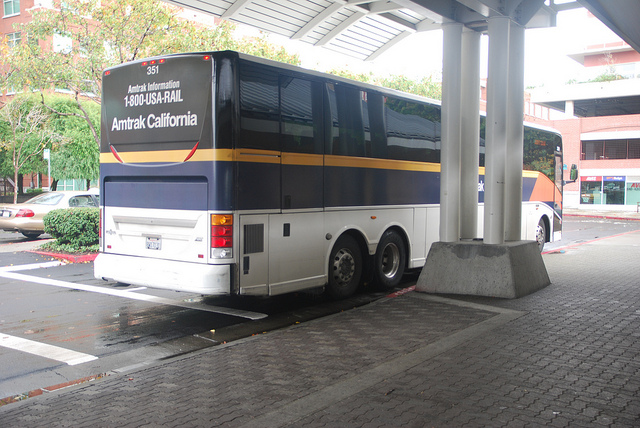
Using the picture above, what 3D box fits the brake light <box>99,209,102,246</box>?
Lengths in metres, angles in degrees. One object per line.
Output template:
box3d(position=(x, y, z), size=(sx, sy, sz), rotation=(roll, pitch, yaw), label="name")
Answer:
box3d(position=(-4.277, 0.272, 8.386), size=(0.039, 0.693, 0.119), rotation=(-1, 3, -19), label="brake light")

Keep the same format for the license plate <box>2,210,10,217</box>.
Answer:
box3d(position=(-13.125, -0.010, 17.978), size=(0.251, 0.220, 0.033), rotation=(-4, -17, -19), label="license plate")

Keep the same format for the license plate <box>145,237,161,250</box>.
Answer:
box3d(position=(-3.022, 0.532, 7.766), size=(0.374, 0.222, 0.080), rotation=(2, 4, 37), label="license plate")

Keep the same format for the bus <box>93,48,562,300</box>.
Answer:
box3d(position=(-0.432, -0.549, 9.659), size=(7.988, 4.840, 2.881), rotation=(-3, 4, -37), label="bus")
